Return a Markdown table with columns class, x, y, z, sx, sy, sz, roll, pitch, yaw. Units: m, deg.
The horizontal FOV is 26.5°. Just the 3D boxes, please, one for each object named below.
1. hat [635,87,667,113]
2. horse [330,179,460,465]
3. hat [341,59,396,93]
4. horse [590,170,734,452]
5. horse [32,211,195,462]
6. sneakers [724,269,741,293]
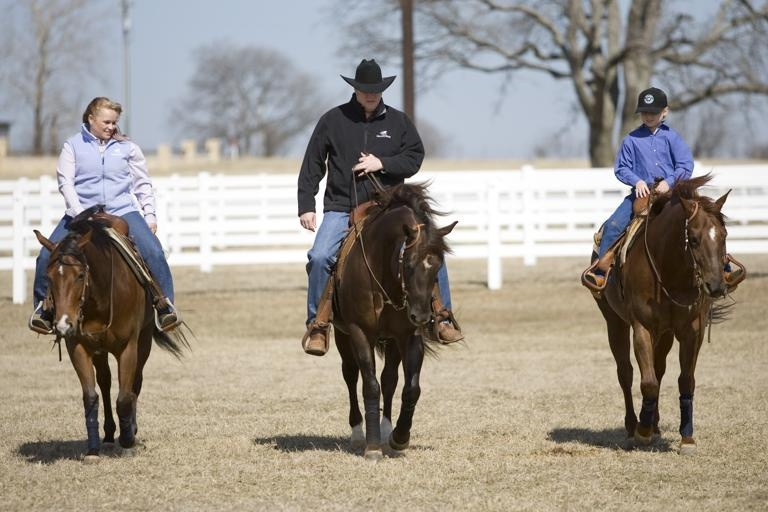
| class | x | y | z | sx | sy | sz | roll | pitch | yaw |
| --- | --- | --- | --- | --- | --- | --- | --- | --- | --- |
| hat | 4.427 | -2.559 | 26.998 | 0.496 | 0.463 | 0.471 | 2 | 14 | 12 |
| horse | 0.079 | 1.100 | 26.342 | 1.910 | 4.256 | 1.106 | 3 | 14 | 16 |
| hat | -0.231 | -2.893 | 26.454 | 0.770 | 0.584 | 0.382 | -3 | 14 | -8 |
| horse | 4.666 | 0.872 | 26.654 | 2.084 | 4.309 | 1.314 | 4 | 14 | 20 |
| horse | -4.565 | 1.243 | 26.555 | 1.913 | 3.861 | 0.918 | -13 | 18 | -41 |
| sneakers | 5.684 | 0.452 | 26.476 | 0.277 | 0.397 | 0.139 | 11 | -10 | 36 |
